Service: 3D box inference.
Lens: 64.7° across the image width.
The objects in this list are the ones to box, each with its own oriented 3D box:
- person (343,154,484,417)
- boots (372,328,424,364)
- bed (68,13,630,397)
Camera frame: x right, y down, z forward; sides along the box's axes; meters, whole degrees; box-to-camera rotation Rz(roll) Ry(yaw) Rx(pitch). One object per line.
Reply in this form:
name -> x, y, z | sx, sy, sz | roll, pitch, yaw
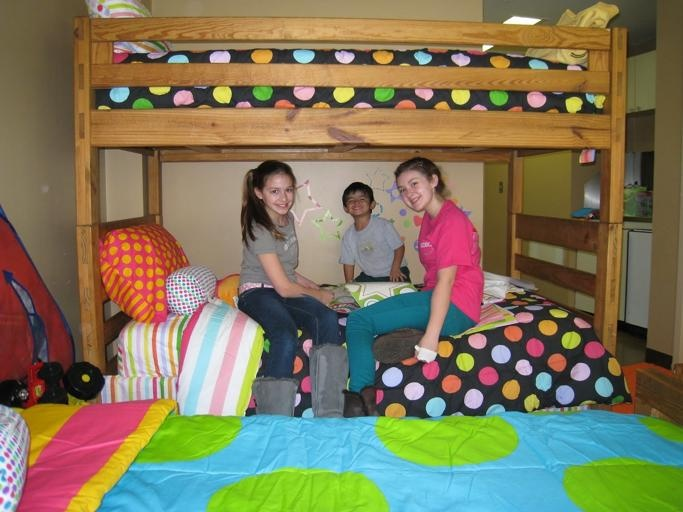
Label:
person -> 0.323, 0.186, 2.681 | 0.784, 1.338, 0.593 | 0, -4, -13
boots -> 0.267, 0.419, 2.525 | 0.240, 0.142, 0.078 | -1, 4, -3
bed -> -0.053, -0.278, 2.894 | 2.594, 1.922, 0.964 | -1, 9, -3
